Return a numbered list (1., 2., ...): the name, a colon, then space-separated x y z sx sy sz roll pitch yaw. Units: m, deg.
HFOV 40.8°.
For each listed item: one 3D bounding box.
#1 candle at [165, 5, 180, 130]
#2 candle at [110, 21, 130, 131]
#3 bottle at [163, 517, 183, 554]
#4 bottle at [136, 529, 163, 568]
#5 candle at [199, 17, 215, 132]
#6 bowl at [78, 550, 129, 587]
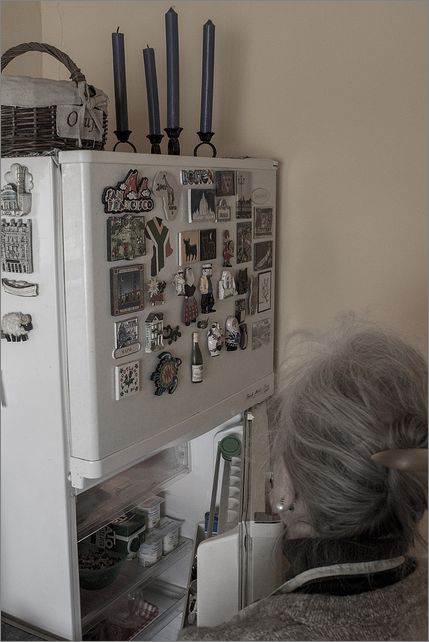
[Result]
1. candle: -0.101 -0.599 1.373 0.030 0.268 0.025 -3 12 -4
2. candle: -0.233 -0.587 1.420 0.038 0.230 0.038 19 33 29
3. bottle: -0.136 0.654 1.782 0.056 0.068 0.100 4 9 20
4. bottle: -0.179 0.663 1.680 0.063 0.076 0.112 2 18 17
5. candle: -0.017 -0.592 1.412 0.032 0.257 0.033 -16 27 -40
6. bowl: -0.298 0.637 1.481 0.095 0.034 0.091 -1 -1 0
